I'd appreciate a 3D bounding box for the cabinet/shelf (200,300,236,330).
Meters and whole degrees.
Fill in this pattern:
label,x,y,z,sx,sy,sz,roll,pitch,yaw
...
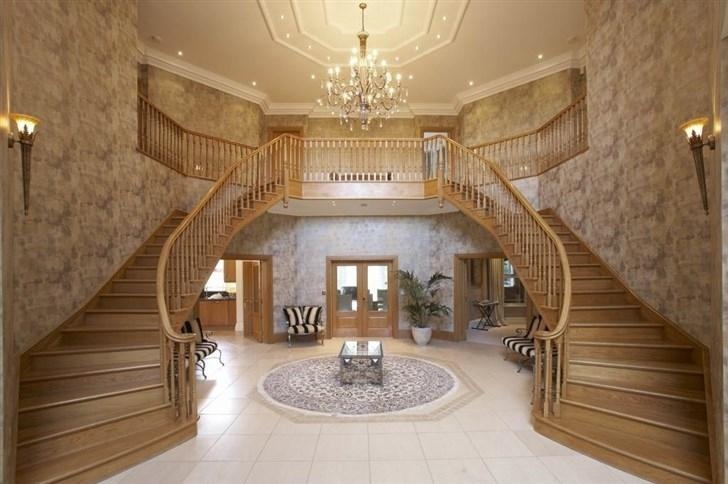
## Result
label,x,y,z,sx,sy,sz,roll,pitch,yaw
cabinet/shelf,-4.554,2.252,13.780,1.509,1.078,0.852,0,-4,-5

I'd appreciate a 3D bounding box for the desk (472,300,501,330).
label,x,y,z,sx,sy,sz,roll,pitch,yaw
desk,4.027,2.373,14.049,0.774,0.799,1.247,0,-3,16

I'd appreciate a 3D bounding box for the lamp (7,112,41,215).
label,x,y,z,sx,sy,sz,roll,pitch,yaw
lamp,-4.785,-1.127,6.106,0.333,1.408,1.541,-4,6,-37

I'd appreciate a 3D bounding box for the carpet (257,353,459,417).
label,x,y,z,sx,sy,sz,roll,pitch,yaw
carpet,-0.133,2.855,8.665,3.763,0.092,2.605,0,4,-1

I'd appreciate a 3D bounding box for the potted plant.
label,x,y,z,sx,sy,sz,roll,pitch,yaw
potted plant,1.725,1.920,12.660,1.771,2.093,2.089,0,0,-30

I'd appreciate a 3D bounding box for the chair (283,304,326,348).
label,x,y,z,sx,sy,sz,roll,pitch,yaw
chair,-1.657,2.317,11.907,1.179,1.000,0.969,2,-7,-15
